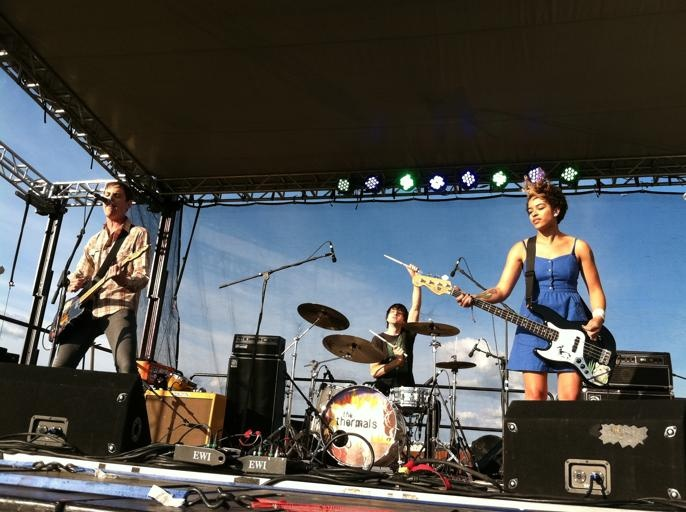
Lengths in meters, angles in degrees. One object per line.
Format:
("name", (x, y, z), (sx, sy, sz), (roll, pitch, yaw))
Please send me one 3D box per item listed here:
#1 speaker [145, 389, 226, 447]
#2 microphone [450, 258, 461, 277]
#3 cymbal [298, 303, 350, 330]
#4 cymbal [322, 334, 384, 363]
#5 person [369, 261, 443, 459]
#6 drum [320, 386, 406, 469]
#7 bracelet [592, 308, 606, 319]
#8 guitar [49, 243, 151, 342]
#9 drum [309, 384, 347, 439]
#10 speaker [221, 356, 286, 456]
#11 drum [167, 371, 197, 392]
("speaker", (-1.508, 1.517, 6.410), (0.772, 0.500, 0.715), (2, 1, -6))
("microphone", (1.306, 0.139, 7.960), (0.030, 0.288, 0.075), (37, -28, 6))
("cymbal", (-0.170, 0.551, 6.106), (0.404, 0.284, 0.540), (2, 1, 22))
("cymbal", (0.098, 0.852, 6.174), (0.363, 0.089, 0.373), (-16, -46, 36))
("person", (0.527, 0.930, 6.849), (0.566, 1.573, 0.450), (-1, 16, 5))
("drum", (0.139, 1.367, 5.360), (0.459, 0.440, 0.318), (38, 4, 38))
("bracelet", (1.649, 0.374, 4.388), (0.066, 0.048, 0.066), (1, 2, 16))
("guitar", (-1.816, 0.268, 4.975), (0.643, 0.714, 0.430), (2, 1, 20))
("drum", (-0.087, 1.333, 5.842), (0.370, 0.360, 0.366), (16, -13, 2))
("speaker", (-0.874, 1.377, 6.734), (0.580, 0.732, 0.374), (1, 1, -9))
("drum", (-1.659, 1.333, 7.105), (0.286, 0.202, 0.459), (1, 1, -12))
